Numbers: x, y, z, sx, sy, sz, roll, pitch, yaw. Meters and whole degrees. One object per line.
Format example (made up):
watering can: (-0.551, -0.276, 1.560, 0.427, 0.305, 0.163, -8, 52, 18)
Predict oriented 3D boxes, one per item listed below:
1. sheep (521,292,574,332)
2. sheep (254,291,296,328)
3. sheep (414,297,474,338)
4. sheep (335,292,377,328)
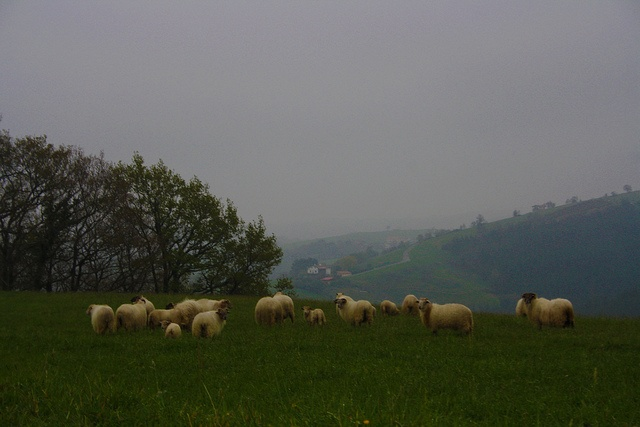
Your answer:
sheep: (23.225, 10.328, 65.421, 5.153, 3.978, 2.390, -7, -7, 45)
sheep: (-5.017, 10.243, 67.595, 1.991, 3.118, 5.158, 0, 3, 30)
sheep: (12.365, 10.253, 63.395, 5.819, 2.834, 2.041, 2, 9, 27)
sheep: (3.664, 10.106, 67.075, 3.998, 3.459, 1.679, -12, -14, 36)
